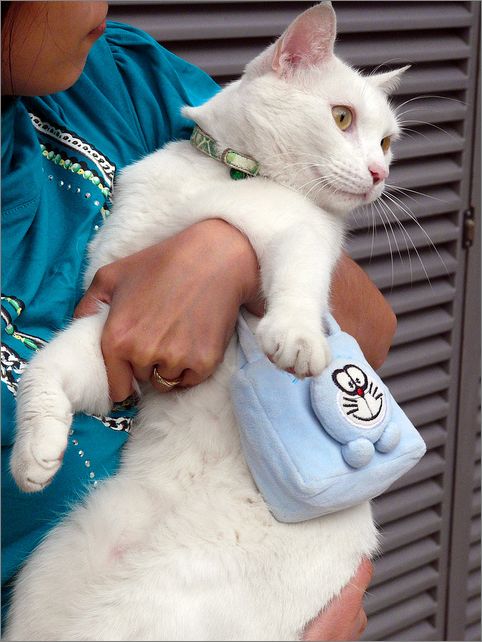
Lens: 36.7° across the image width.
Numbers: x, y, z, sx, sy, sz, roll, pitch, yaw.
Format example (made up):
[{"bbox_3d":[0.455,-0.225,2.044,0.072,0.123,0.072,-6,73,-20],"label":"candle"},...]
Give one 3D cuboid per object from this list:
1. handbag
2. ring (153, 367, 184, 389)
[{"bbox_3d":[0.103,0.125,1.011,0.224,0.208,0.276,-13,45,-16],"label":"handbag"},{"bbox_3d":[-0.098,0.074,1.006,0.034,0.030,0.013,33,96,14],"label":"ring"}]
